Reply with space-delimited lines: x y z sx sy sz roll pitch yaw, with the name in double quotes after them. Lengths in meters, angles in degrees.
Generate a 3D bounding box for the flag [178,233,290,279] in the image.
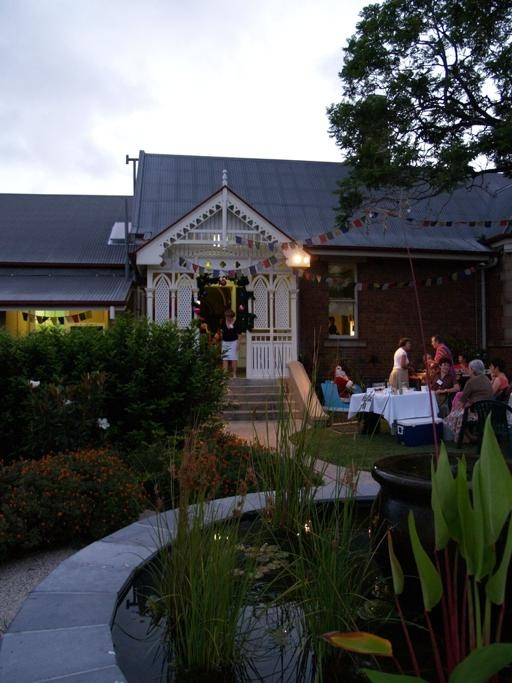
-0.405 -1.989 13.953 2.423 0.724 1.951 -2 0 -19 "flag"

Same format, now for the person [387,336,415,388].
2.647 0.571 10.756 0.367 1.140 0.331 -4 8 -31 "person"
